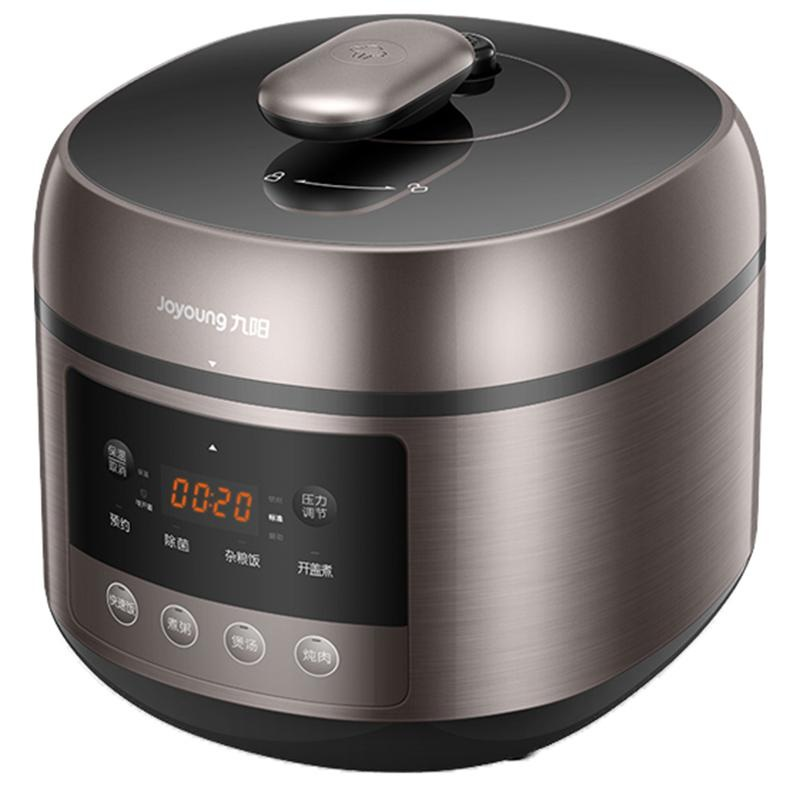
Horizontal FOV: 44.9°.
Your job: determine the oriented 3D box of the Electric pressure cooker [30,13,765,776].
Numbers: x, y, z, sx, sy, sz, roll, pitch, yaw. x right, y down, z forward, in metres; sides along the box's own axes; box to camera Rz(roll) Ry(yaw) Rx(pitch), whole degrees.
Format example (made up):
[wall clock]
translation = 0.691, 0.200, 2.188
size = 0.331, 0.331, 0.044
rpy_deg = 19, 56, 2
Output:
[Electric pressure cooker]
translation = -0.016, -0.076, 1.053
size = 0.793, 0.559, 0.750
rpy_deg = 15, 26, 31
